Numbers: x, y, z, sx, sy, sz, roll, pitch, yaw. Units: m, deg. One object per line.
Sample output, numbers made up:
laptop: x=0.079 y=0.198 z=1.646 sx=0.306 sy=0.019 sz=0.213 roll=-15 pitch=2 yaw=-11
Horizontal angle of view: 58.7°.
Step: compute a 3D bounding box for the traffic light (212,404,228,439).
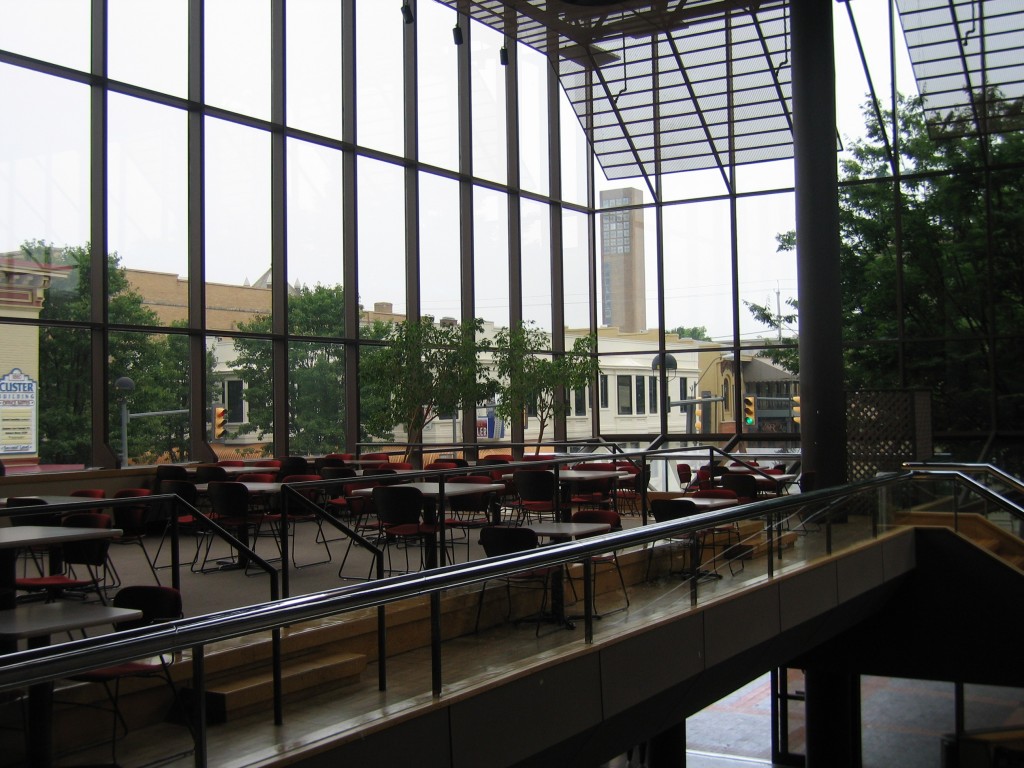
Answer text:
traffic light: x=-4.986 y=0.632 z=15.596 sx=0.074 sy=0.565 sz=0.300 roll=-3 pitch=0 yaw=30
